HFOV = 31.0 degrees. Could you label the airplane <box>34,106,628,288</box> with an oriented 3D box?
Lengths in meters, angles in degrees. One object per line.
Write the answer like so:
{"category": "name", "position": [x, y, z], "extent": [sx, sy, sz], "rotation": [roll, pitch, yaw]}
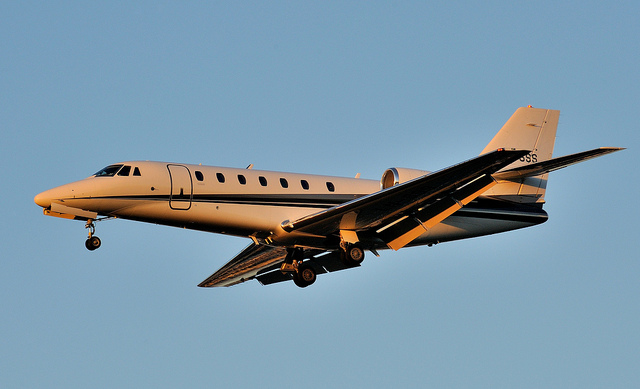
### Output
{"category": "airplane", "position": [0.877, 0.309, 31.918], "extent": [9.227, 2.357, 8.564], "rotation": [4, -18, -16]}
